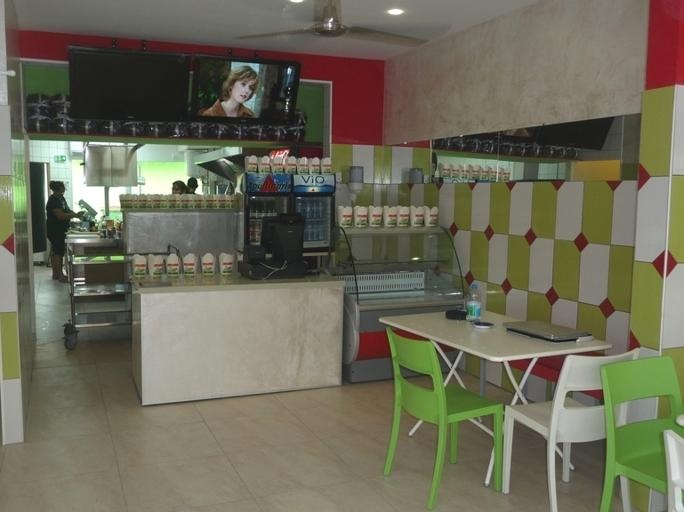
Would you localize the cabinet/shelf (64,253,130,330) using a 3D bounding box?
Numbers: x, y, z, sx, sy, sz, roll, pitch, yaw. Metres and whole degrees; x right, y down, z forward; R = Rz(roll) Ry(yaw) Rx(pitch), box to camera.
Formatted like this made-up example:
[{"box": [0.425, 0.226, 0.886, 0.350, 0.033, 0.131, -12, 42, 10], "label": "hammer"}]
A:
[{"box": [-2.773, 0.399, 6.779, 0.844, 1.039, 0.545, 0, -1, -27], "label": "cabinet/shelf"}]

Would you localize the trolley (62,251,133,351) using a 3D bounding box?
[{"box": [-3.119, 0.471, 6.856, 0.791, 1.127, 0.988, 1, -3, 20], "label": "trolley"}]

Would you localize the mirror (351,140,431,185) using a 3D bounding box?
[{"box": [0.588, -1.069, 6.940, 0.403, 0.466, 1.052, -9, 15, -42], "label": "mirror"}]

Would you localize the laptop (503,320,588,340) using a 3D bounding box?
[{"box": [1.456, 0.531, 4.238, 0.317, 0.057, 0.528, -9, 15, -43], "label": "laptop"}]

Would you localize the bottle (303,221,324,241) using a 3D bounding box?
[{"box": [-0.329, -0.280, 6.599, 0.234, 0.222, 0.117, 1, 1, -18], "label": "bottle"}]

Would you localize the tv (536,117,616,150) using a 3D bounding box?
[{"box": [1.920, -0.998, 4.803, 0.036, 0.215, 0.362, 20, 7, -32], "label": "tv"}]

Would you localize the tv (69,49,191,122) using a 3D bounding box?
[{"box": [-2.316, -1.871, 6.366, 0.878, 0.538, 0.088, 0, 32, -16], "label": "tv"}]

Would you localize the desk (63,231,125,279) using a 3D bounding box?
[{"box": [-2.952, -0.052, 7.036, 0.646, 0.434, 0.672, 0, 10, -16], "label": "desk"}]

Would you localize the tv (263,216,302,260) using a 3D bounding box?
[{"box": [-0.550, -0.164, 5.475, 0.391, 0.432, 0.149, -1, 11, -10], "label": "tv"}]

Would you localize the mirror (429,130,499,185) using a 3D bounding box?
[{"box": [1.258, -0.997, 5.962, 0.211, 0.453, 1.108, -3, 11, -18], "label": "mirror"}]
